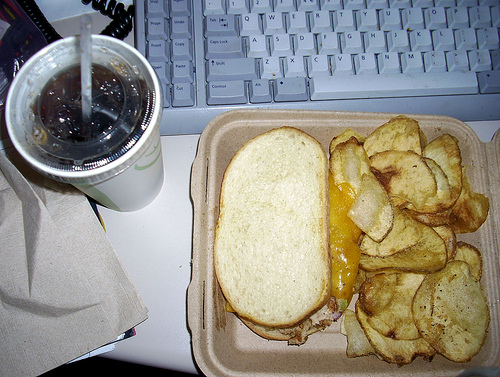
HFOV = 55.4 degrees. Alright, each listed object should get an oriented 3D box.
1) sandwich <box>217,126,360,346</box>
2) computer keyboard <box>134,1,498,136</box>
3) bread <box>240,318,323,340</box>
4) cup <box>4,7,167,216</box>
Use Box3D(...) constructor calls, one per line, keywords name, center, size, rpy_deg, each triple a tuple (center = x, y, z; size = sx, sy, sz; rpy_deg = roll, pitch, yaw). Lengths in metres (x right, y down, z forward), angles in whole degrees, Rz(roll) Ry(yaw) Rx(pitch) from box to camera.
Box3D(name="sandwich", center=(0.065, 0.079, 0.808), size=(0.247, 0.099, 0.366), rpy_deg=(8, 83, 0))
Box3D(name="computer keyboard", center=(0.136, -0.248, 0.925), size=(0.721, 0.052, 0.256), rpy_deg=(-2, 83, -1))
Box3D(name="bread", center=(0.060, 0.286, 0.882), size=(0.127, 0.122, 0.026), rpy_deg=(5, 65, -17))
Box3D(name="cup", center=(-0.271, -0.113, 0.774), size=(0.182, 0.319, 0.208), rpy_deg=(-19, 89, -6))
